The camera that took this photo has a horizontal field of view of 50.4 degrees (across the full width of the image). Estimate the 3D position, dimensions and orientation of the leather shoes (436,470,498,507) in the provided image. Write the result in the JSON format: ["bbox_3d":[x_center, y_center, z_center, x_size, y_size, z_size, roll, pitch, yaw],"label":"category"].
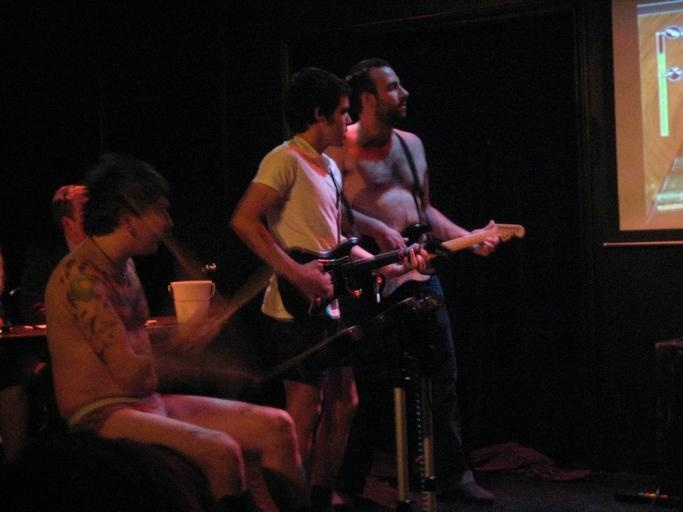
[{"bbox_3d":[0.622,1.179,3.697,0.314,0.142,0.117,1,-1,17],"label":"leather shoes"}]

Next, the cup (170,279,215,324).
[{"bbox_3d":[-0.755,0.232,3.666,0.221,0.186,0.196,2,-7,-31],"label":"cup"}]
